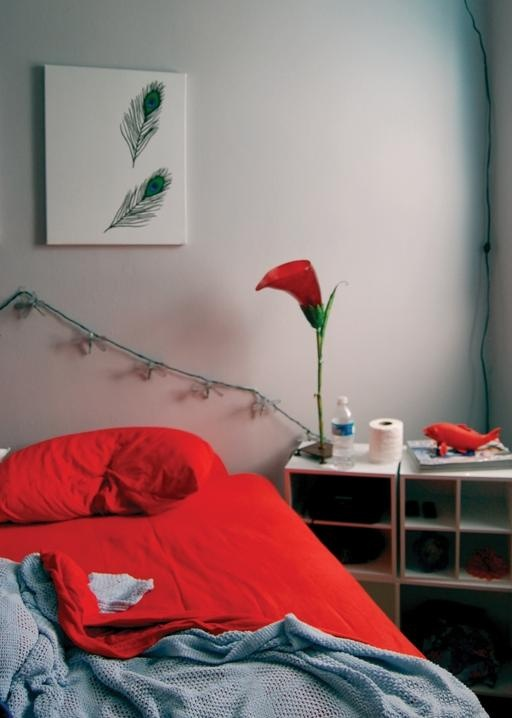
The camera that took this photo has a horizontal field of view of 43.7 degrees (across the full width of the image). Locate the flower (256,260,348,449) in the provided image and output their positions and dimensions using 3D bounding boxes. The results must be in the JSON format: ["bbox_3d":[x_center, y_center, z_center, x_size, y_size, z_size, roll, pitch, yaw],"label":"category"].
[{"bbox_3d":[0.144,-0.006,2.264,0.257,0.683,0.433,4,9,7],"label":"flower"}]

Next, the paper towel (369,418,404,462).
[{"bbox_3d":[0.433,0.272,2.138,0.116,0.117,0.109,-6,15,-12],"label":"paper towel"}]

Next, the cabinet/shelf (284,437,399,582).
[{"bbox_3d":[0.239,0.460,2.200,0.495,0.432,0.352,2,10,9],"label":"cabinet/shelf"}]
